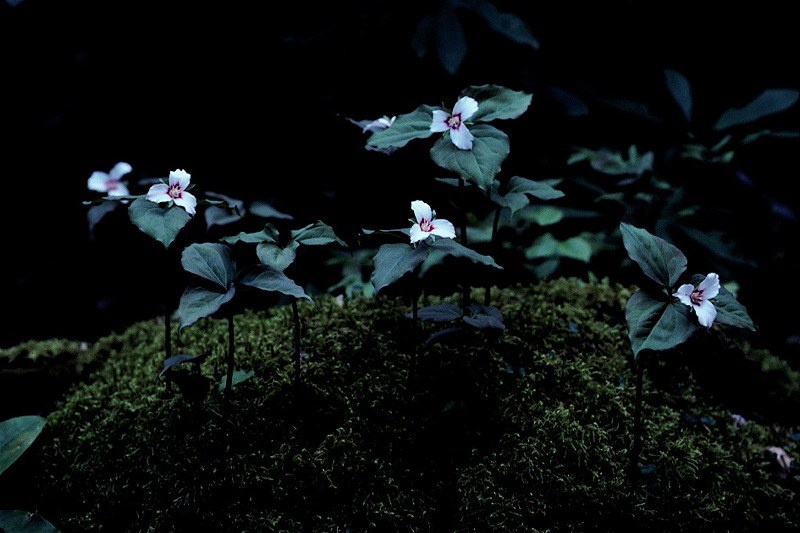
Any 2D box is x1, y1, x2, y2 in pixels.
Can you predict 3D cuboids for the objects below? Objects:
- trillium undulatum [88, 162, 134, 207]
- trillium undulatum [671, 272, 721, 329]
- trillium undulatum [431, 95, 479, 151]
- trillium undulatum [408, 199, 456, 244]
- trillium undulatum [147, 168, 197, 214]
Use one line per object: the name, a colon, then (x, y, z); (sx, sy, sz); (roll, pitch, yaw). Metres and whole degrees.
trillium undulatum: (-2.238, -0.649, 4.924); (0.336, 0.337, 0.097); (1, 48, -32)
trillium undulatum: (2.062, 0.217, 4.378); (0.373, 0.140, 0.308); (-25, 61, -1)
trillium undulatum: (0.370, -0.982, 4.378); (0.296, 0.290, 0.241); (9, 35, 16)
trillium undulatum: (0.209, -0.313, 4.428); (0.301, 0.246, 0.257); (-4, 33, -3)
trillium undulatum: (-1.623, -0.526, 4.556); (0.346, 0.284, 0.226); (4, 34, 8)
